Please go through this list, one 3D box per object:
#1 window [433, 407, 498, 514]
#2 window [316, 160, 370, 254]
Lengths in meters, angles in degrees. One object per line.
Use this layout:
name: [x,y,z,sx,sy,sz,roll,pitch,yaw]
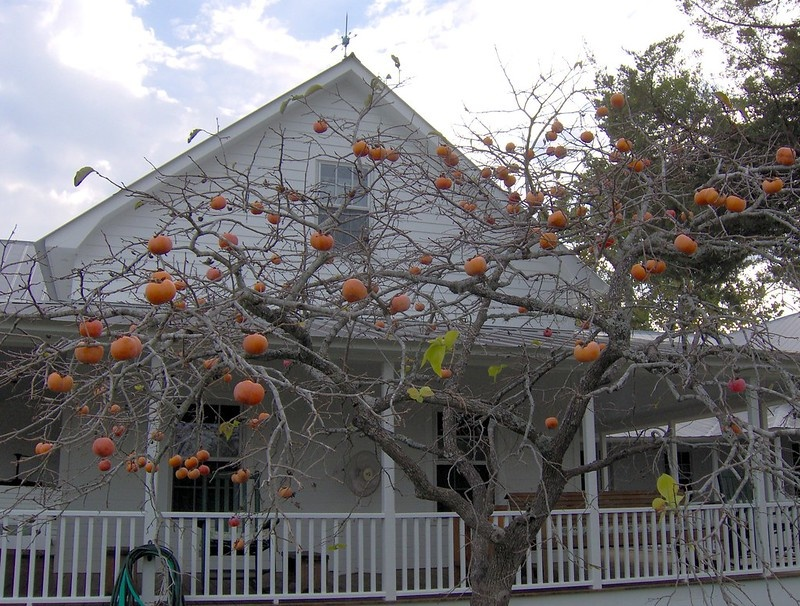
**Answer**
window: [0.929,2.476,11.834,0.953,2.047,0.086,0,20,-5]
window: [-0.783,-1.415,11.208,0.884,1.899,0.119,3,-35,-9]
